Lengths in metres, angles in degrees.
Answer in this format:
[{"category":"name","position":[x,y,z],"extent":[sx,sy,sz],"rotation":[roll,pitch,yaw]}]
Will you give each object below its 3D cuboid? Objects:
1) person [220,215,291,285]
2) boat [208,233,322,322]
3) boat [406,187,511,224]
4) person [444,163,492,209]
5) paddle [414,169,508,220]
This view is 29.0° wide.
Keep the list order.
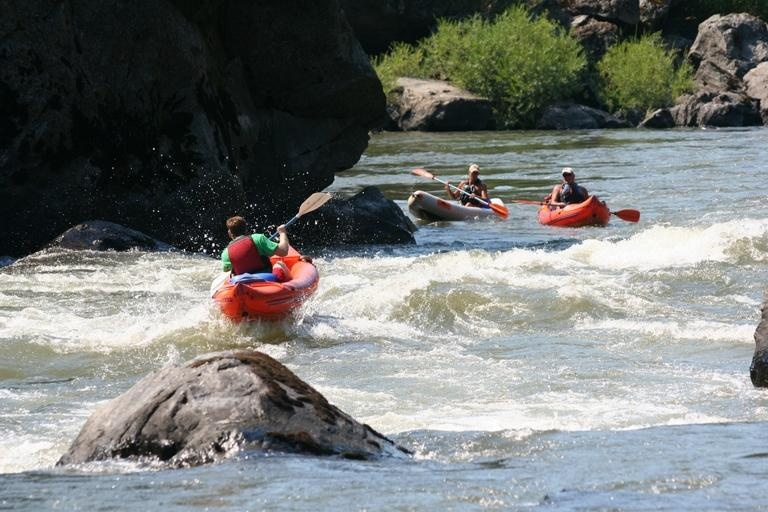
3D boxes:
[{"category":"person","position":[-2.378,-0.068,27.166],"extent":[1.082,0.807,1.624],"rotation":[-19,-22,12]},{"category":"boat","position":[-2.036,0.583,26.507],"extent":[1.177,1.032,1.802],"rotation":[-4,6,33]},{"category":"boat","position":[1.714,-1.132,34.918],"extent":[1.993,0.470,0.910],"rotation":[4,7,-25]},{"category":"person","position":[2.083,-1.681,36.861],"extent":[1.085,1.585,0.979],"rotation":[-11,-41,15]},{"category":"paddle","position":[1.861,-1.446,36.195],"extent":[3.203,0.390,0.195],"rotation":[25,-13,27]}]
